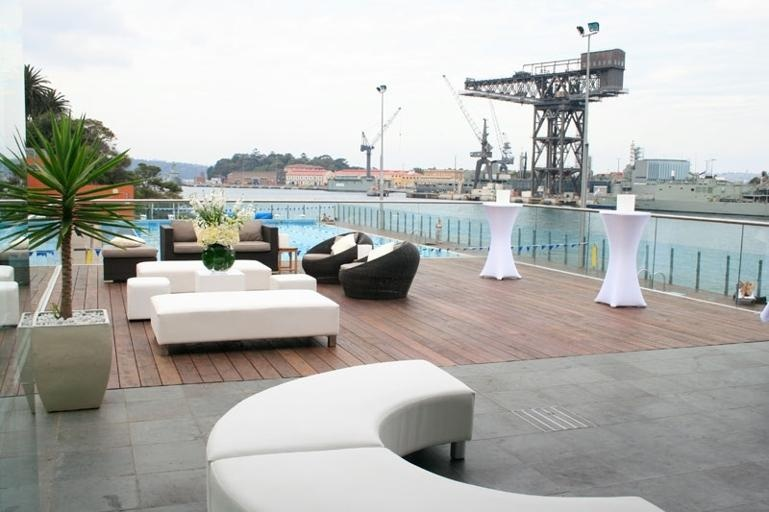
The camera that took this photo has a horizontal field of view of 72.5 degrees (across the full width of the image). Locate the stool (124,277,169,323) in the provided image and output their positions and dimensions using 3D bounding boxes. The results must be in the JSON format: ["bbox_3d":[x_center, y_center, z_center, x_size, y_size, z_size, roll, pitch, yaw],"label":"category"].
[{"bbox_3d":[-2.749,0.483,6.072,0.531,0.504,0.451,4,-14,-31],"label":"stool"}]

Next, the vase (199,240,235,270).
[{"bbox_3d":[-2.039,-0.017,6.428,0.370,0.344,0.344,2,4,-7],"label":"vase"}]

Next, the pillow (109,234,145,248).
[{"bbox_3d":[-3.582,-0.207,7.277,0.245,0.104,0.358,-2,8,-37],"label":"pillow"}]

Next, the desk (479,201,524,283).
[{"bbox_3d":[1.971,-0.266,8.757,0.649,1.262,0.380,4,10,10],"label":"desk"}]

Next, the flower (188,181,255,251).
[{"bbox_3d":[-2.078,-0.485,6.733,0.862,0.928,0.857,1,-4,8],"label":"flower"}]

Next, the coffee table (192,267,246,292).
[{"bbox_3d":[-2.041,0.305,6.489,0.641,0.257,0.457,5,10,17],"label":"coffee table"}]
